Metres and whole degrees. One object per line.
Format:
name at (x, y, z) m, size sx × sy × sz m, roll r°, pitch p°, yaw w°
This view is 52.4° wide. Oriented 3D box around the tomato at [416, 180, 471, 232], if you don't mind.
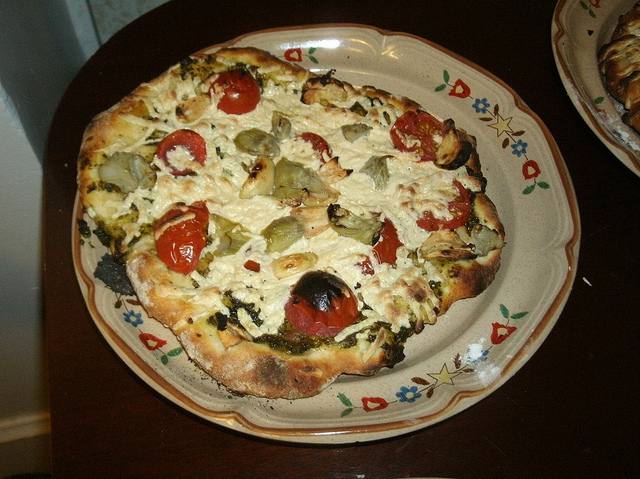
tomato at (0.920, -0.201, 4.584) m, size 0.389 × 0.357 × 0.155 m, roll -15°, pitch -69°, yaw 26°
